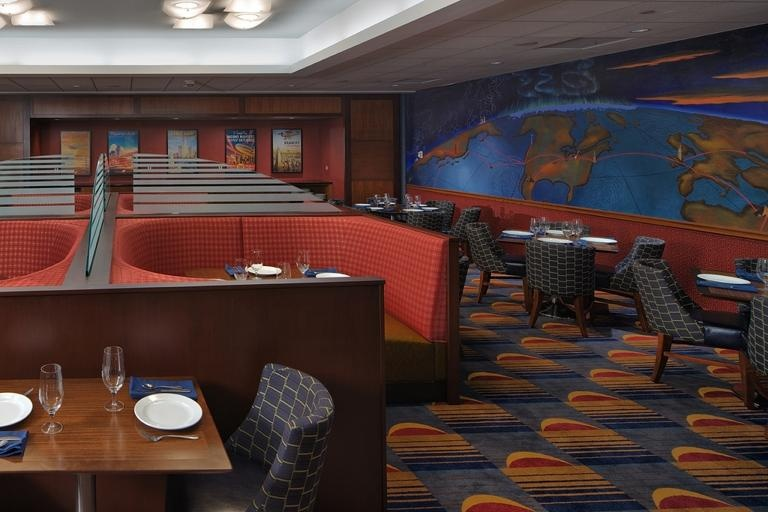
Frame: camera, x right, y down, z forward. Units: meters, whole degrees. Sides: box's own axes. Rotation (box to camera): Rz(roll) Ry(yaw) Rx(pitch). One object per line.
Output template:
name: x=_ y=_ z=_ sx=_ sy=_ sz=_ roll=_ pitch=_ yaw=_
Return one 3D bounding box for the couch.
couch: x=-1.065 y=0.296 z=3.669 sx=3.092 sy=0.754 sz=2.145 roll=-1 pitch=3 yaw=-9

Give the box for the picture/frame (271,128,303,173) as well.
picture/frame: x=-2.666 y=-2.851 z=13.968 sx=0.055 sy=1.198 sz=1.174 roll=16 pitch=20 yaw=32

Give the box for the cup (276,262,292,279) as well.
cup: x=-0.860 y=0.127 z=4.454 sx=0.230 sy=0.148 sz=0.183 roll=-1 pitch=5 yaw=-13

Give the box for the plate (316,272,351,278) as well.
plate: x=-0.414 y=0.150 z=4.153 sx=0.240 sy=0.035 sz=0.146 roll=0 pitch=2 yaw=-7
